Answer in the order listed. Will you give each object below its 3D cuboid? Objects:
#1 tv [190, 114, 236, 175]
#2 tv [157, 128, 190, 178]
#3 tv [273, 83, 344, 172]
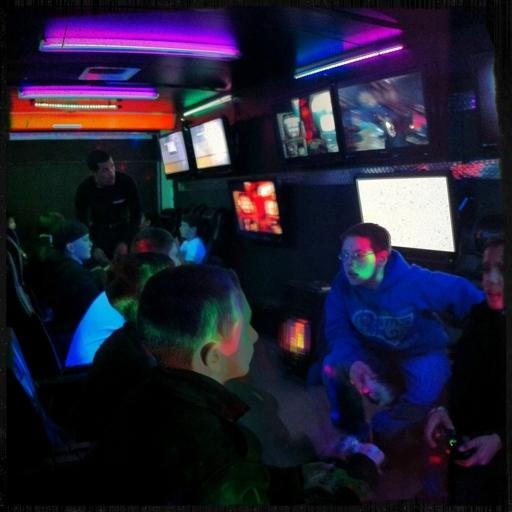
[{"bbox_3d":[-0.379,-1.003,4.585,0.170,0.510,0.528,-14,11,-34],"label":"tv"},{"bbox_3d":[-0.766,-0.967,4.725,0.229,0.271,0.340,-7,6,8],"label":"tv"},{"bbox_3d":[0.298,-0.806,3.246,0.150,0.440,0.832,-9,6,-13],"label":"tv"}]
